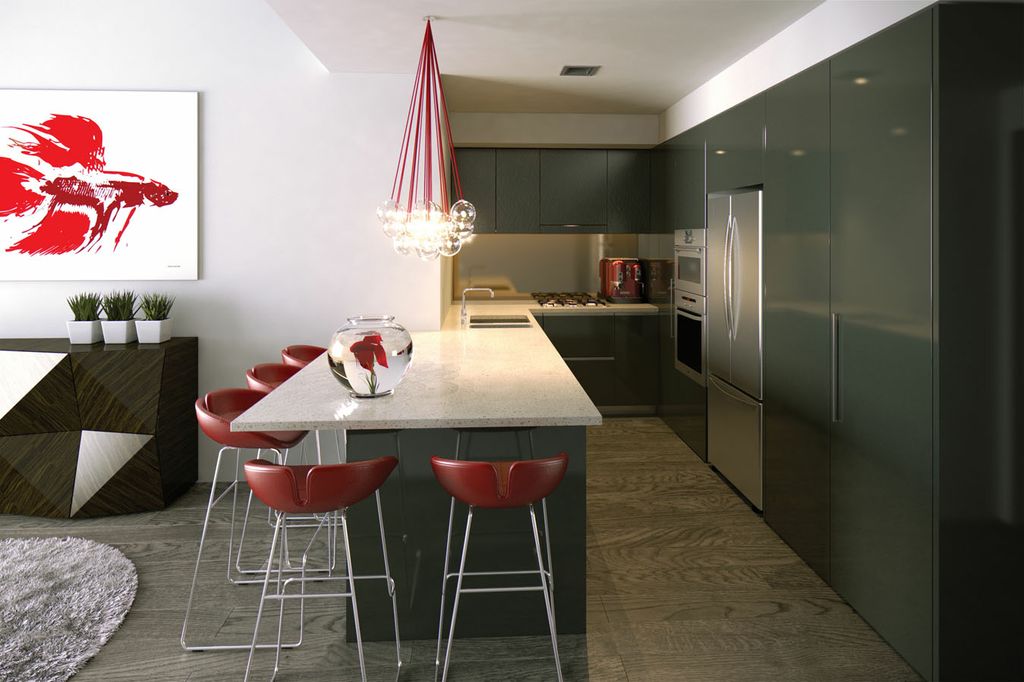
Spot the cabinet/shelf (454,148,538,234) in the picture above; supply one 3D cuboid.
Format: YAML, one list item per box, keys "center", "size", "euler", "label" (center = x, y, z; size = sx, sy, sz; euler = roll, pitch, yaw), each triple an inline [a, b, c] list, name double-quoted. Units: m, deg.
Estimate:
- center: [-0.263, -1.571, 7.483]
  size: [1.005, 0.955, 0.518]
  euler: [9, 11, 25]
  label: "cabinet/shelf"

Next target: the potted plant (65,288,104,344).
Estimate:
- center: [-3.194, -0.160, 5.330]
  size: [0.251, 0.350, 0.225]
  euler: [1, 5, -30]
  label: "potted plant"

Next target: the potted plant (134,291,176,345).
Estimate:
- center: [-2.699, -0.169, 5.376]
  size: [0.258, 0.351, 0.245]
  euler: [0, 4, -10]
  label: "potted plant"

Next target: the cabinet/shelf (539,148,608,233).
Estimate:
- center: [0.624, -1.554, 7.564]
  size: [0.846, 0.939, 0.697]
  euler: [0, 2, 0]
  label: "cabinet/shelf"

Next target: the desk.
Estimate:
- center: [-0.538, 0.720, 5.119]
  size: [1.930, 1.241, 2.956]
  euler: [0, 11, 0]
  label: "desk"

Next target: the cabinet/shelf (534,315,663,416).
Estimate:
- center: [0.862, 0.177, 7.581]
  size: [1.583, 1.463, 0.919]
  euler: [0, 5, 3]
  label: "cabinet/shelf"

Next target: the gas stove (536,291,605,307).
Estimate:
- center: [0.604, -0.437, 7.480]
  size: [0.730, 0.076, 0.697]
  euler: [-3, 12, -2]
  label: "gas stove"

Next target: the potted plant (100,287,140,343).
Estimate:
- center: [-2.935, -0.171, 5.344]
  size: [0.240, 0.335, 0.250]
  euler: [15, 15, 42]
  label: "potted plant"

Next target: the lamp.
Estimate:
- center: [-0.675, -1.392, 5.331]
  size: [0.627, 1.564, 2.361]
  euler: [-4, 12, -7]
  label: "lamp"

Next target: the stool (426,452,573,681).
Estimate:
- center: [-0.075, 1.121, 3.659]
  size: [0.704, 1.218, 0.625]
  euler: [-4, 12, -6]
  label: "stool"
